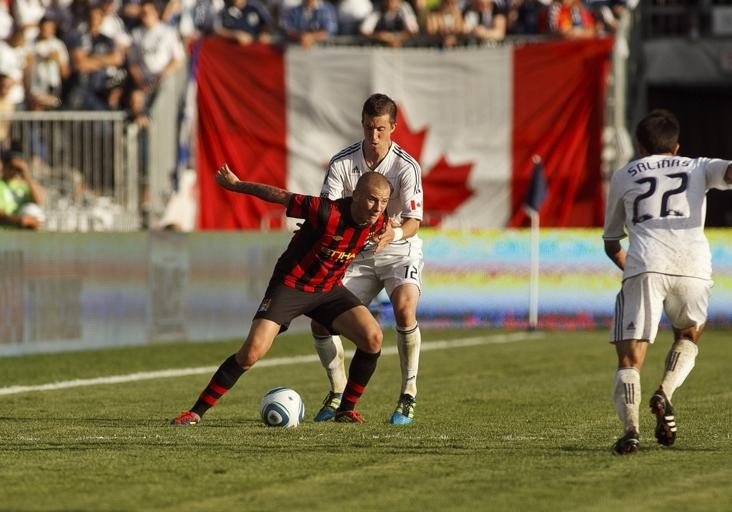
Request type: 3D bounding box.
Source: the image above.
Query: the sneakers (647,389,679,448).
[{"bbox_3d":[2.724,1.490,13.569,0.200,0.574,0.269,-5,20,34],"label":"sneakers"}]

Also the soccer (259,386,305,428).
[{"bbox_3d":[-0.863,1.547,14.617,0.435,0.452,0.436,-9,20,-16],"label":"soccer"}]

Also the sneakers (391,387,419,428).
[{"bbox_3d":[0.382,1.564,14.730,0.144,0.405,0.165,13,-37,4],"label":"sneakers"}]

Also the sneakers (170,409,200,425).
[{"bbox_3d":[-1.788,1.620,14.506,0.256,0.119,0.128,3,-5,-12],"label":"sneakers"}]

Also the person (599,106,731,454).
[{"bbox_3d":[2.739,0.239,13.656,1.028,3.160,0.698,1,3,6],"label":"person"}]
